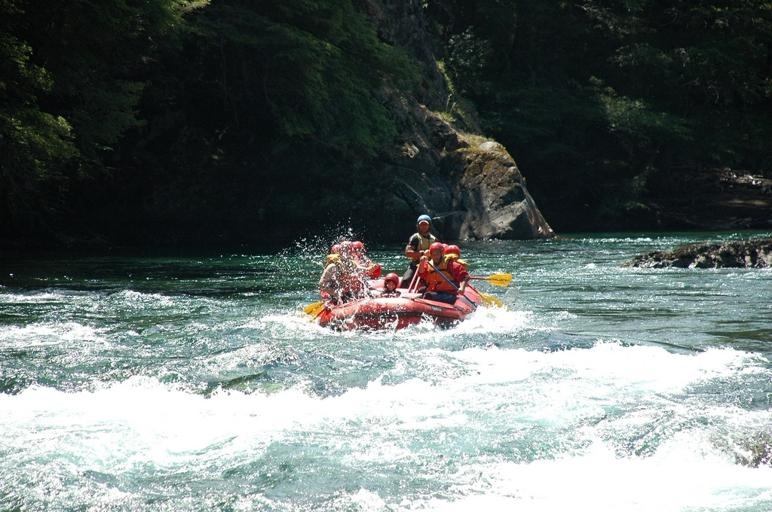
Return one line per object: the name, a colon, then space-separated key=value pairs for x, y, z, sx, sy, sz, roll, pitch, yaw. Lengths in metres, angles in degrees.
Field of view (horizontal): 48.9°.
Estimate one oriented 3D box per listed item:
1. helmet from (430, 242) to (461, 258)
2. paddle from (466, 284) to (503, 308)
helmet: x=1.468 y=-0.167 z=20.939 sx=0.638 sy=0.281 sz=0.381 roll=7 pitch=6 yaw=-19
paddle: x=2.647 y=1.097 z=22.782 sx=1.010 sy=0.265 sz=0.105 roll=31 pitch=-45 yaw=-20
